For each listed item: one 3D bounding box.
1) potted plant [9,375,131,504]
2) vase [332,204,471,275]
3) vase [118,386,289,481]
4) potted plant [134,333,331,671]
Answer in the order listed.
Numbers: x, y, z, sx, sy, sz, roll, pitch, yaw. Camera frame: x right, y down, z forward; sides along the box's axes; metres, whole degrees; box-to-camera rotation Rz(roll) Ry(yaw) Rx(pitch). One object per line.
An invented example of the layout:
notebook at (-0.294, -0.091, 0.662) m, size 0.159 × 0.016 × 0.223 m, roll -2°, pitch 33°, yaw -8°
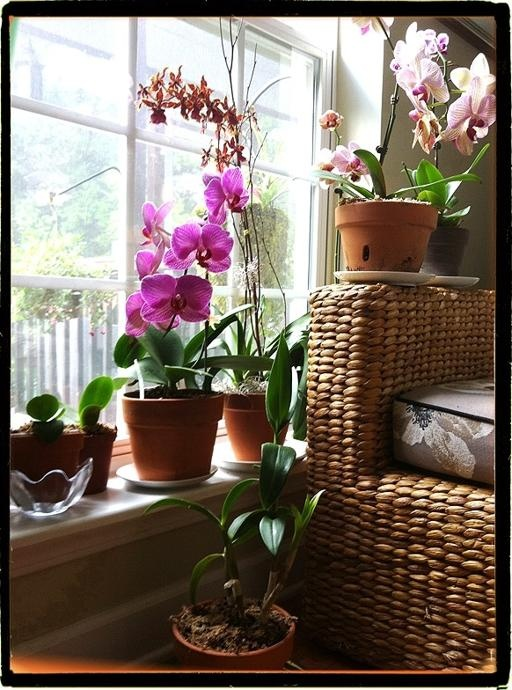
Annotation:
potted plant at (-0.224, 0.142, 0.819) m, size 0.140 × 0.154 × 0.187 m, roll 0°, pitch -3°, yaw 8°
vase at (0.277, -0.161, 1.016) m, size 0.155 × 0.093 × 0.239 m, roll 7°, pitch 8°, yaw 42°
vase at (-0.123, 0.126, 0.893) m, size 0.150 × 0.105 × 0.144 m, roll 1°, pitch 1°, yaw 37°
potted plant at (-0.025, 0.231, 0.784) m, size 0.236 × 0.434 × 0.288 m, roll -1°, pitch -9°, yaw 41°
